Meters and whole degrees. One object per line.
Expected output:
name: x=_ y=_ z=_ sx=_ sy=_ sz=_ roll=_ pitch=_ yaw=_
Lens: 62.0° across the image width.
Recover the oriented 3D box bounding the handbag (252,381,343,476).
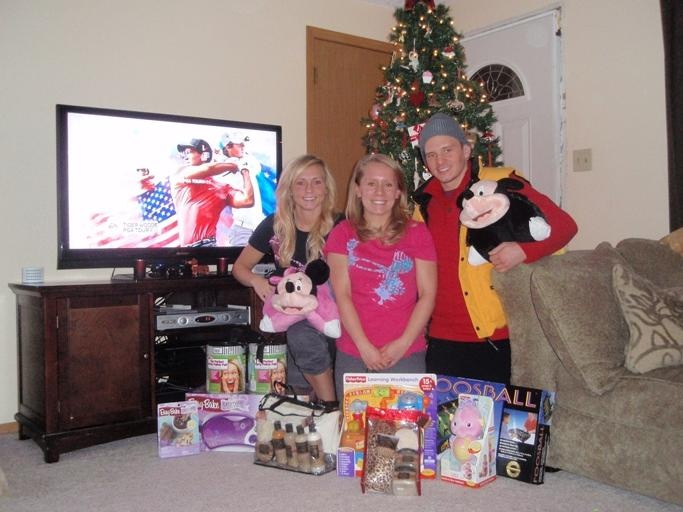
handbag: x=-0.206 y=0.761 z=2.871 sx=0.526 sy=0.504 sz=0.294 roll=3 pitch=-7 yaw=17

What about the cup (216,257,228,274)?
cup: x=-0.751 y=0.068 z=3.586 sx=0.089 sy=0.114 sz=0.084 roll=0 pitch=-6 yaw=0

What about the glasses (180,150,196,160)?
glasses: x=-0.985 y=-0.645 z=3.620 sx=0.059 sy=0.029 sz=0.100 roll=-9 pitch=5 yaw=-9

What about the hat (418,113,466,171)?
hat: x=0.514 y=-0.654 z=2.918 sx=0.180 sy=0.191 sz=0.189 roll=-3 pitch=3 yaw=-14

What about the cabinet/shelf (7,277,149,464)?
cabinet/shelf: x=-1.470 y=0.631 z=3.283 sx=0.522 sy=0.883 sz=0.657 roll=-1 pitch=-2 yaw=42

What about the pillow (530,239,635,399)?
pillow: x=1.088 y=0.292 z=2.563 sx=0.160 sy=0.551 sz=0.562 roll=-21 pitch=-1 yaw=44

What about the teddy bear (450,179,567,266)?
teddy bear: x=0.754 y=-0.143 z=2.759 sx=0.484 sy=0.470 sz=0.308 roll=-30 pitch=-21 yaw=38

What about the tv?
tv: x=-1.039 y=-0.358 z=3.686 sx=1.462 sy=1.079 sz=0.367 roll=-3 pitch=7 yaw=-36

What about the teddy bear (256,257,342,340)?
teddy bear: x=-0.211 y=0.216 z=2.923 sx=0.427 sy=0.392 sz=0.270 roll=1 pitch=9 yaw=16

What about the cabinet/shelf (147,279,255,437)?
cabinet/shelf: x=-0.916 y=0.520 z=3.611 sx=0.586 sy=0.528 sz=0.428 roll=-1 pitch=15 yaw=-21

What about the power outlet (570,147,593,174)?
power outlet: x=1.681 y=-0.667 z=3.977 sx=0.182 sy=0.219 sz=0.024 roll=-7 pitch=-6 yaw=43
